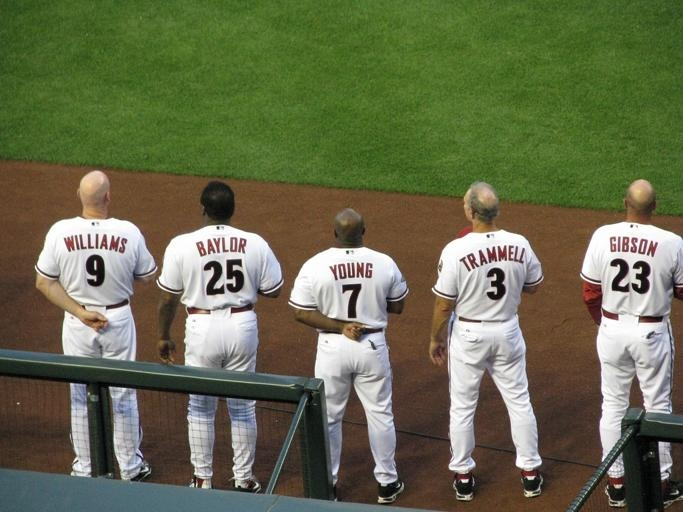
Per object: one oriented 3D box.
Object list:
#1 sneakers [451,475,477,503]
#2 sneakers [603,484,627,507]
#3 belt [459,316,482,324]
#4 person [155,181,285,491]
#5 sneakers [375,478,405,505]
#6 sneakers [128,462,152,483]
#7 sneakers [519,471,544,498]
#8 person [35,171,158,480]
[{"bbox_3d":[1.226,2.331,15.369,0.150,0.143,0.309,0,18,2],"label":"sneakers"},{"bbox_3d":[2.719,2.394,15.280,0.156,0.115,0.247,-1,40,0],"label":"sneakers"},{"bbox_3d":[1.285,0.647,15.339,0.222,0.050,0.039,3,3,7],"label":"belt"},{"bbox_3d":[-1.220,0.788,15.217,1.210,3.023,0.648,3,3,-4],"label":"person"},{"bbox_3d":[0.483,2.372,15.453,0.140,0.148,0.340,7,16,25],"label":"sneakers"},{"bbox_3d":[-1.992,2.153,15.202,0.079,0.163,0.235,31,47,26],"label":"sneakers"},{"bbox_3d":[1.897,2.296,15.379,0.145,0.142,0.321,1,19,7],"label":"sneakers"},{"bbox_3d":[-2.375,0.703,15.314,1.129,3.062,1.057,0,4,-44],"label":"person"}]
